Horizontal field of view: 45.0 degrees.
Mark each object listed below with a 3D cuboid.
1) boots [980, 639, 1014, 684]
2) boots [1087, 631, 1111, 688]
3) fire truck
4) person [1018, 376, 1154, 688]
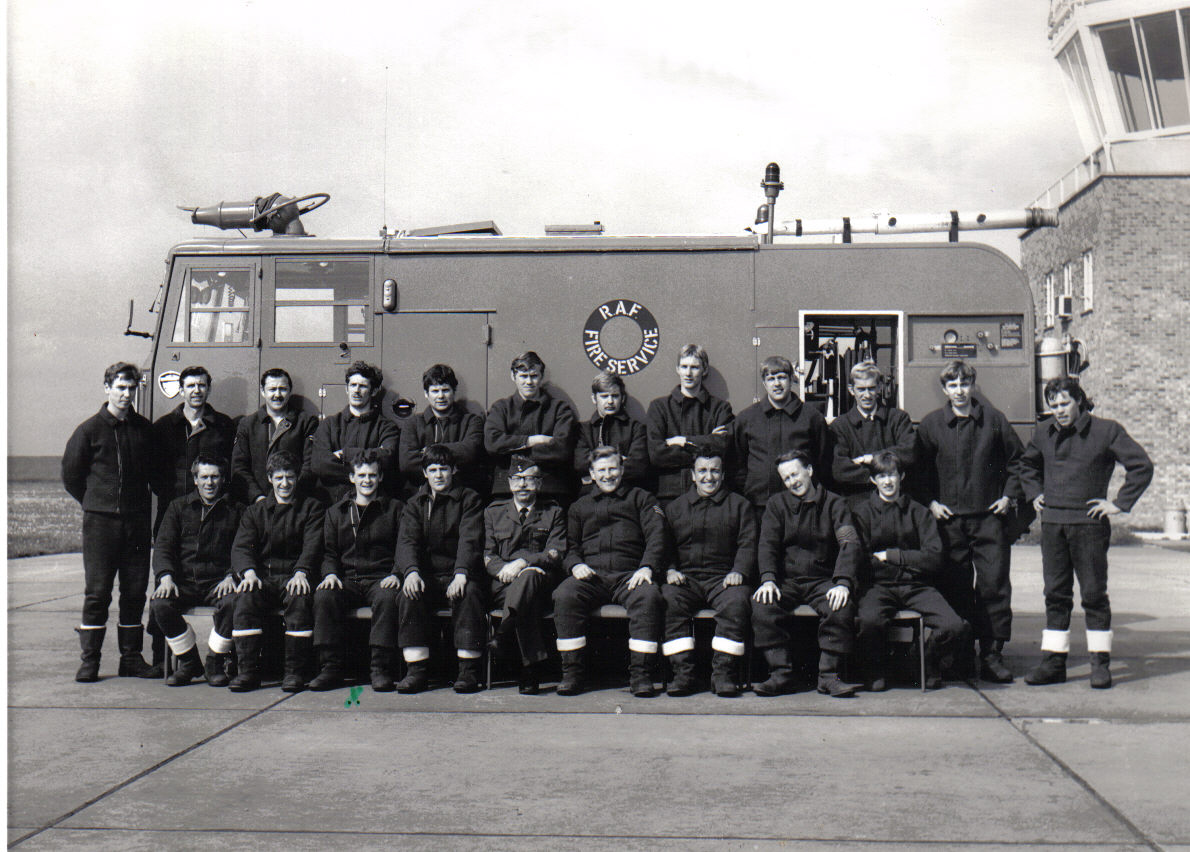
[{"bbox_3d":[3.507,2.037,12.512,0.294,0.346,0.188,2,9,14],"label":"boots"},{"bbox_3d":[4.353,1.979,12.344,0.203,0.485,0.230,2,8,14],"label":"boots"},{"bbox_3d":[0.134,-0.589,14.502,8.663,3.555,2.662,1,6,1],"label":"fire truck"},{"bbox_3d":[4.398,0.817,12.831,1.065,2.804,1.062,0,0,16],"label":"person"}]
